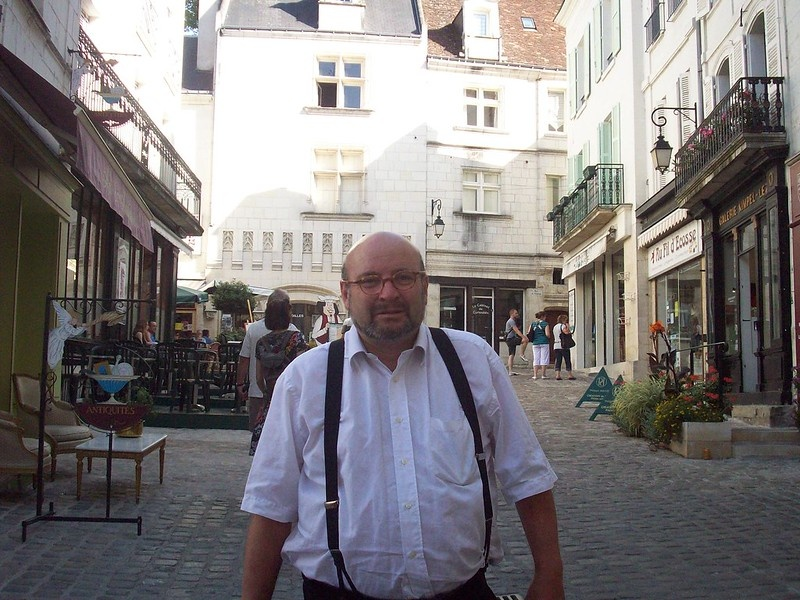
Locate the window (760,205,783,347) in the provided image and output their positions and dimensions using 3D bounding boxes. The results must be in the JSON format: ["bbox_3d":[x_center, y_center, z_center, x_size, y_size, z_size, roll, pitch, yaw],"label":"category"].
[{"bbox_3d":[7.203,-0.408,14.811,0.513,2.831,0.116,-5,0,-18],"label":"window"}]

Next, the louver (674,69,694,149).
[{"bbox_3d":[7.370,-5.017,19.898,0.208,1.134,0.046,-26,18,-13],"label":"louver"}]

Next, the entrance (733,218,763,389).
[{"bbox_3d":[7.260,0.146,15.954,0.214,3.577,1.284,1,-1,12],"label":"entrance"}]

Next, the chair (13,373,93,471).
[{"bbox_3d":[-4.004,1.426,8.822,0.850,1.162,0.892,3,-5,-26],"label":"chair"}]

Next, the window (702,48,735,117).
[{"bbox_3d":[7.556,-5.038,17.844,0.301,1.169,0.672,4,-19,11],"label":"window"}]

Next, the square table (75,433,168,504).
[{"bbox_3d":[-2.827,1.851,7.662,0.546,0.529,1.021,0,-3,4],"label":"square table"}]
